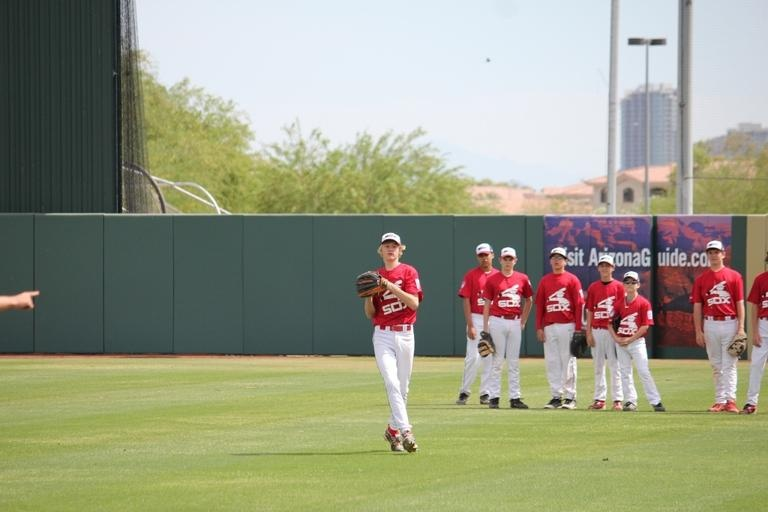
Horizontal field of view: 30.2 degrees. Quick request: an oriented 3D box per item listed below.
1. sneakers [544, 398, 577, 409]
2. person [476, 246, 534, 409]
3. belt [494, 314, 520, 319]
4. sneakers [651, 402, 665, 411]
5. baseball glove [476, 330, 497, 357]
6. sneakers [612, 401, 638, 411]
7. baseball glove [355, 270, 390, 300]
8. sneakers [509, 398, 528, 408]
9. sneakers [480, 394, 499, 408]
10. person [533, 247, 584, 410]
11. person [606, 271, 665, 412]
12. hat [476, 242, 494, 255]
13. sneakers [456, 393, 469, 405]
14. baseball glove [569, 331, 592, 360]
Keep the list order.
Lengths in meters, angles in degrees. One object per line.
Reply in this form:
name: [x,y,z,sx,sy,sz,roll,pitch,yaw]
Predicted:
sneakers: [3.679,3.066,29.735,0.666,0.231,0.243,2,-4,-14]
person: [2.567,1.516,29.726,1.049,3.302,0.615,0,-3,-33]
belt: [2.570,1.289,29.595,0.443,0.098,0.096,-1,-3,-8]
sneakers: [5.688,3.105,29.491,0.258,0.181,0.417,-2,-3,10]
baseball glove: [2.115,1.835,29.534,0.250,0.301,0.632,-7,-43,15]
sneakers: [4.991,3.098,29.487,0.503,0.200,0.192,0,1,22]
baseball glove: [-0.264,0.558,27.061,0.584,0.394,0.544,-10,-6,13]
sneakers: [2.849,3.067,29.619,0.439,0.168,0.160,-4,-2,35]
sneakers: [2.215,3.037,29.767,0.172,0.190,0.491,0,-4,-28]
person: [3.694,1.516,29.817,0.996,3.310,0.379,-2,-3,5]
person: [5.213,1.784,29.661,1.018,2.848,0.708,-2,-3,8]
hat: [2.104,-0.137,29.962,0.305,0.210,0.429,-5,-5,7]
sneakers: [1.650,2.999,30.029,0.261,0.231,0.347,-2,-3,2]
baseball glove: [4.055,1.833,29.688,0.366,0.523,0.200,-2,-3,5]
